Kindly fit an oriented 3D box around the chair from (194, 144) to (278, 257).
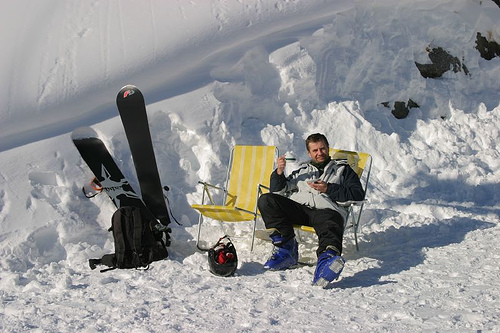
[{"bbox_3d":[-0.195,0.580,10.898,1.004,1.664,1.658,1,12,28],"label":"chair"}]
